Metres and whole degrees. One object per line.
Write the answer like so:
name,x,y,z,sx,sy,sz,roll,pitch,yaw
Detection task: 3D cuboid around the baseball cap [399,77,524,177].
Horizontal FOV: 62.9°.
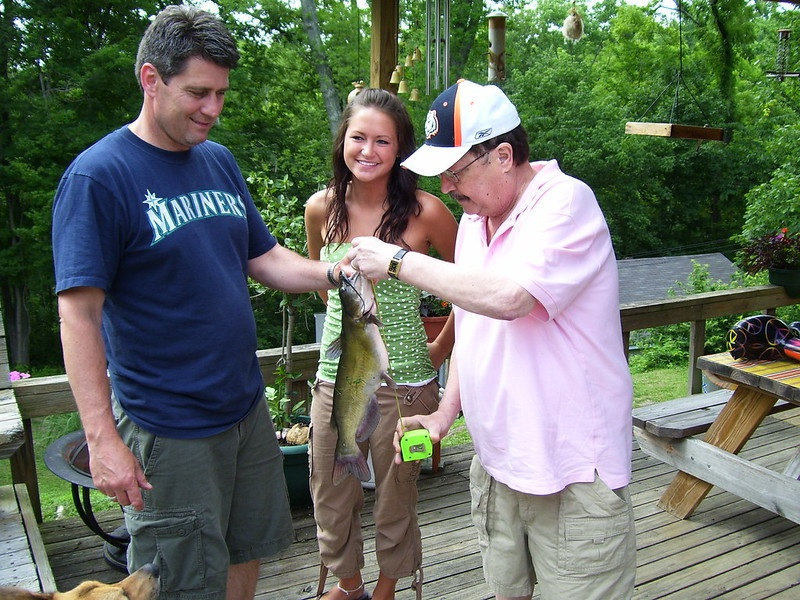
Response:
baseball cap,0.197,-0.680,2.442,0.508,0.247,0.316,-25,32,-10

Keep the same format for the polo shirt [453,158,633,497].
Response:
polo shirt,0.497,0.102,2.382,0.672,1.204,0.378,2,9,19

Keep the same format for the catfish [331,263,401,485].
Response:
catfish,-0.097,0.288,2.809,0.382,0.953,0.229,11,21,34
